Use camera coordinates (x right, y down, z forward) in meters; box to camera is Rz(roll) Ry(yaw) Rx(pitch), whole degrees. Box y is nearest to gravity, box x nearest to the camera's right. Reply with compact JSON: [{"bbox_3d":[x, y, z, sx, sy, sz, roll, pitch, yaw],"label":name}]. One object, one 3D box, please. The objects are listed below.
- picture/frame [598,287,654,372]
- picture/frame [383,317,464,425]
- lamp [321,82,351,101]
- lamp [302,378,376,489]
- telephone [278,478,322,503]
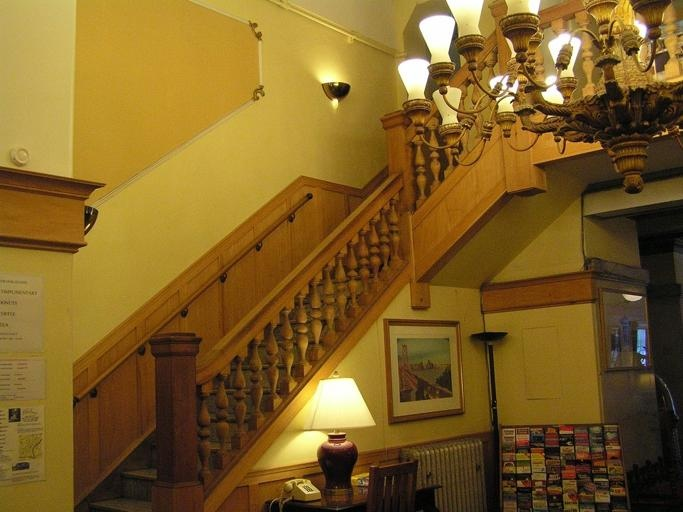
[{"bbox_3d":[3.029,0.809,6.764,0.051,1.355,0.905,-7,-4,45],"label":"picture/frame"},{"bbox_3d":[0.785,1.134,6.232,1.044,0.960,0.239,5,-11,-41],"label":"picture/frame"},{"bbox_3d":[-0.057,-1.918,7.368,0.232,0.169,0.245,0,6,8],"label":"lamp"},{"bbox_3d":[-0.058,1.374,4.907,0.504,0.850,0.453,-17,-23,40],"label":"lamp"},{"bbox_3d":[-0.302,1.764,4.699,0.294,0.159,0.151,-1,-18,-5],"label":"telephone"}]
